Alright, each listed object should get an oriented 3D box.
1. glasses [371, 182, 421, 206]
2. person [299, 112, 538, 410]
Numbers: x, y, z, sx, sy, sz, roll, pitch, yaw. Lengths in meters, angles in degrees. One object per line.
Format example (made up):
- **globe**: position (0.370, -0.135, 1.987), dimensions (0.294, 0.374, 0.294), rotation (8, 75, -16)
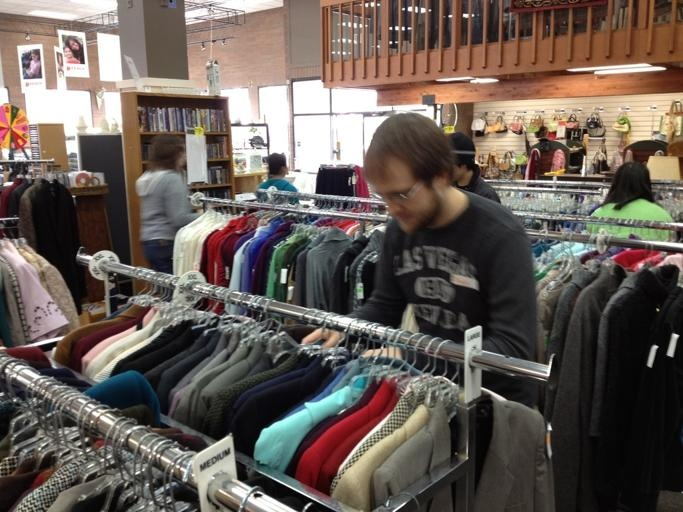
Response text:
- **glasses**: position (0.176, -0.183, 1.406), dimensions (0.079, 0.022, 0.077), rotation (-37, 25, -33)
- **person**: position (0.314, -0.064, 1.553), dimensions (0.629, 0.784, 0.359), rotation (3, 14, 20)
